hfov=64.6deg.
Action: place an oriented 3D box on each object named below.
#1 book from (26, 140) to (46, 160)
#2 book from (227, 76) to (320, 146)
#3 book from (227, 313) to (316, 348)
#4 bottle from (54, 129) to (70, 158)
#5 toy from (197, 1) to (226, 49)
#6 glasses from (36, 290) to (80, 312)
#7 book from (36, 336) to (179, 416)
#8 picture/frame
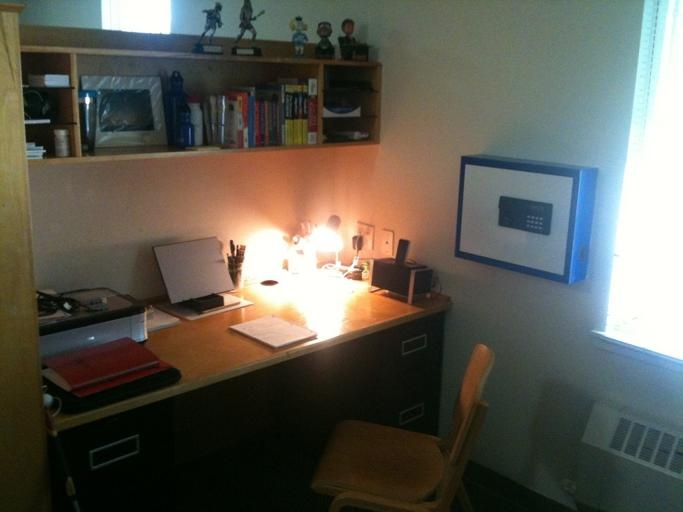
[{"bbox_3d":[-1.226,-0.420,2.167,0.054,0.065,0.066,-6,15,-20],"label":"book"},{"bbox_3d":[-0.368,-0.757,2.834,0.352,0.247,0.169,-11,30,-23],"label":"book"},{"bbox_3d":[-0.316,0.351,2.516,0.191,0.021,0.168,20,22,36],"label":"book"},{"bbox_3d":[-1.169,-0.471,2.261,0.062,0.113,0.065,-1,14,0],"label":"bottle"},{"bbox_3d":[-0.659,-1.148,2.711,0.138,0.267,0.297,-3,14,-10],"label":"toy"},{"bbox_3d":[-1.198,0.193,2.287,0.152,0.060,0.051,13,14,2],"label":"glasses"},{"bbox_3d":[-0.884,0.455,2.053,0.280,0.067,0.286,-15,29,-40],"label":"book"},{"bbox_3d":[-1.035,-0.684,2.551,0.412,0.358,0.029,-8,10,-32],"label":"picture/frame"}]
